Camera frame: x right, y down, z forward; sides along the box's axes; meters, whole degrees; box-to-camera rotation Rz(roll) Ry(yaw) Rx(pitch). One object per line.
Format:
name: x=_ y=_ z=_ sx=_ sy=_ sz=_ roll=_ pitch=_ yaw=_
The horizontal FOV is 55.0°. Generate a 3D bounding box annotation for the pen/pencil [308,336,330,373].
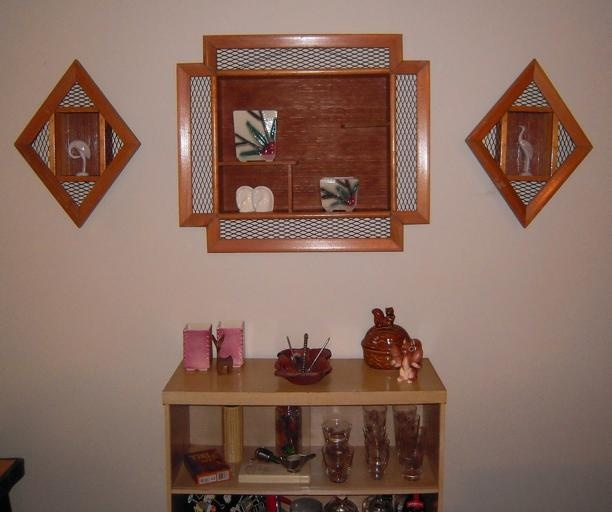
pen/pencil: x=0.058 y=0.425 z=2.531 sx=0.018 sy=0.157 sz=0.018 roll=42 pitch=9 yaw=-5

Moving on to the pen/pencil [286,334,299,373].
pen/pencil: x=-0.060 y=0.410 z=2.550 sx=0.015 sy=0.195 sz=0.025 roll=-24 pitch=-43 yaw=14

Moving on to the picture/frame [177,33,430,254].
picture/frame: x=-0.013 y=-0.510 z=2.579 sx=0.822 sy=0.793 sz=0.117 roll=0 pitch=6 yaw=-1

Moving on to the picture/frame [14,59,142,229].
picture/frame: x=-0.986 y=-0.524 z=2.579 sx=0.610 sy=0.861 sz=0.060 roll=3 pitch=10 yaw=8

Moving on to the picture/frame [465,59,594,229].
picture/frame: x=0.965 y=-0.523 z=2.575 sx=0.634 sy=0.896 sz=0.041 roll=-1 pitch=7 yaw=6

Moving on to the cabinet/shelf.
cabinet/shelf: x=-0.007 y=0.768 z=2.493 sx=1.119 sy=0.673 sz=0.396 roll=2 pitch=-4 yaw=1
